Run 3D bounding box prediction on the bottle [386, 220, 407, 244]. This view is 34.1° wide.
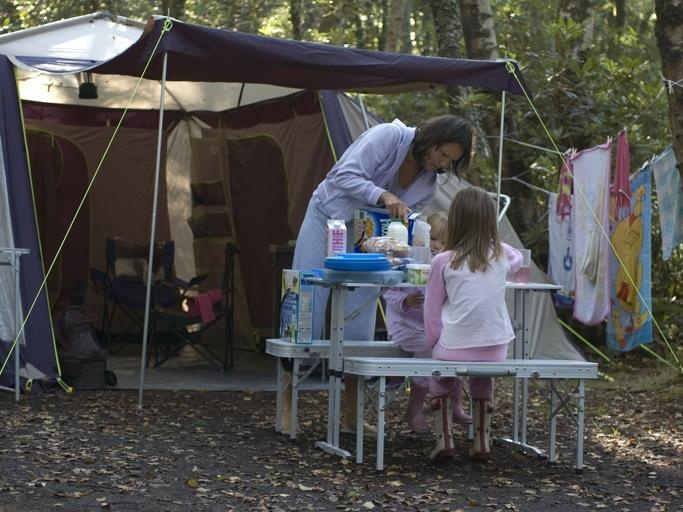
[{"bbox_3d":[0.416,-0.169,8.169,0.159,0.266,0.157,-2,3,0],"label":"bottle"}]

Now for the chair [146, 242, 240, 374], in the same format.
[{"bbox_3d":[-1.491,0.491,11.353,0.941,1.253,1.031,2,6,3],"label":"chair"}]

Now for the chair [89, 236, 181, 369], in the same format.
[{"bbox_3d":[-2.039,0.420,11.200,1.078,1.173,0.855,4,3,-20],"label":"chair"}]

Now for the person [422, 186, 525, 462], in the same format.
[{"bbox_3d":[0.947,0.525,8.204,0.683,2.023,0.484,1,10,0],"label":"person"}]

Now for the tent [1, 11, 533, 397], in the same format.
[{"bbox_3d":[-1.296,-0.946,10.576,4.270,2.797,4.183,0,-2,-33],"label":"tent"}]

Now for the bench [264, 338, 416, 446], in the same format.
[{"bbox_3d":[-0.133,0.882,8.821,1.214,0.793,0.752,1,2,-9],"label":"bench"}]

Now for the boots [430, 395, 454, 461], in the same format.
[{"bbox_3d":[0.753,1.285,8.371,0.224,0.451,0.485,-4,-9,0],"label":"boots"}]

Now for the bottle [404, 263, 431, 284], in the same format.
[{"bbox_3d":[0.563,0.124,8.133,0.147,0.140,0.145,2,5,-2],"label":"bottle"}]

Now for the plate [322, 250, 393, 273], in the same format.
[{"bbox_3d":[0.114,0.047,8.062,0.480,0.135,0.152,2,9,3],"label":"plate"}]

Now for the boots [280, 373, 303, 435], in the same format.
[{"bbox_3d":[-0.388,1.195,8.861,0.103,0.429,0.105,7,2,-28],"label":"boots"}]
